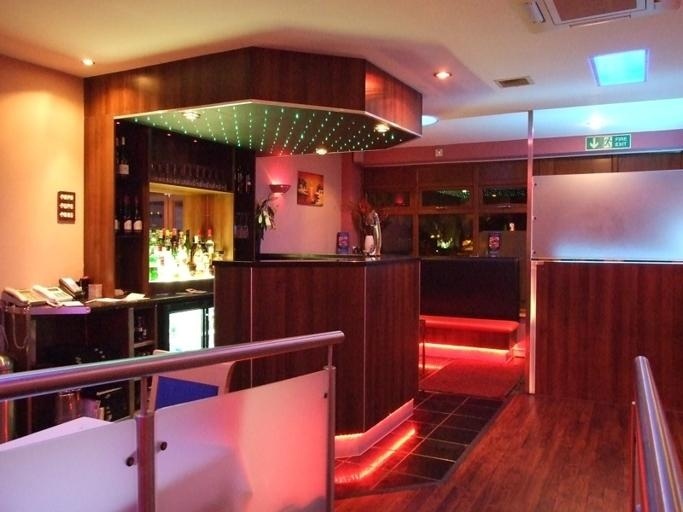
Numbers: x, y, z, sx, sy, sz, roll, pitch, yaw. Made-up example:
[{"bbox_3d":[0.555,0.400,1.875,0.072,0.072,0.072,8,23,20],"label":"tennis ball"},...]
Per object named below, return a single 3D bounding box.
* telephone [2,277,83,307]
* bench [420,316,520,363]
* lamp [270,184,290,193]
[{"bbox_3d":[-2.593,0.316,4.665,0.625,0.188,0.591,-2,4,-22],"label":"telephone"},{"bbox_3d":[1.876,1.177,7.706,1.466,0.504,0.839,-1,3,7],"label":"bench"},{"bbox_3d":[-0.869,-1.001,7.814,0.258,0.132,0.474,0,4,17],"label":"lamp"}]
